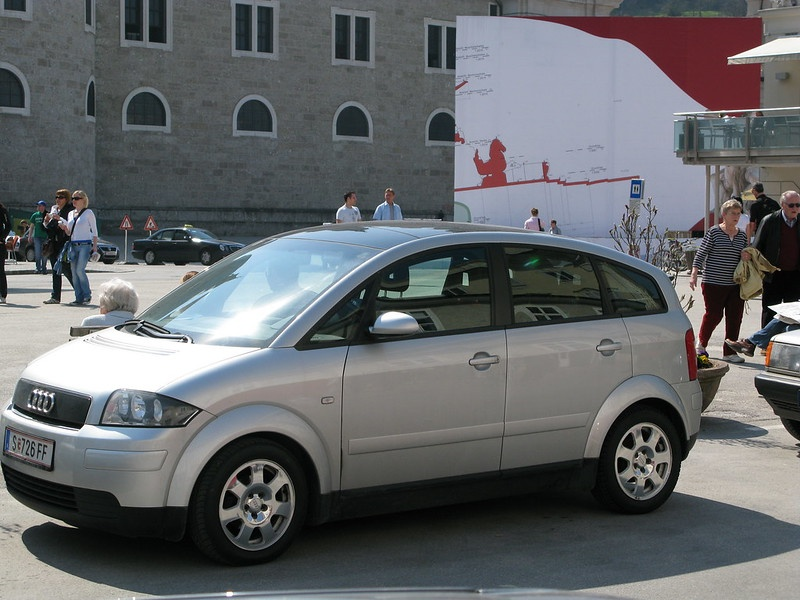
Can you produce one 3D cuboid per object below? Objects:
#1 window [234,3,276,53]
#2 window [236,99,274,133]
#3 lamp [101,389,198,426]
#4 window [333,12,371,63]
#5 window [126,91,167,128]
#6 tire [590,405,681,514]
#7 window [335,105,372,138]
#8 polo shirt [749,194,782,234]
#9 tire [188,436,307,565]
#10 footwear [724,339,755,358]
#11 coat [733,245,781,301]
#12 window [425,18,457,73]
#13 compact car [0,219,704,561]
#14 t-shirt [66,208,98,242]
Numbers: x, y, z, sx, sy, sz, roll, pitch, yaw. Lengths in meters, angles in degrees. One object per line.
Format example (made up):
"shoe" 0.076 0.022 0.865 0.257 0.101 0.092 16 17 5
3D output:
"window" -8.195 -14.986 51.839 2.714 3.231 0.215 -3 8 -35
"window" -8.283 -10.205 52.328 0.125 1.480 1.788 7 10 42
"lamp" -1.410 0.618 5.123 0.342 0.136 0.258 2 -5 -43
"window" -2.907 -15.084 54.325 3.168 3.105 0.245 -10 15 -44
"window" -13.717 -10.099 49.896 1.868 1.618 0.148 -4 6 -37
"tire" 1.625 1.115 6.517 0.693 0.722 0.224 -3 1 -28
"window" -2.897 -10.400 54.942 1.842 1.523 0.079 -9 13 -43
"polo shirt" 6.868 -1.662 17.842 0.621 0.814 0.307 15 -1 -39
"tire" -0.883 1.115 5.237 0.642 0.666 0.211 9 -2 -33
"footwear" 4.287 0.606 11.722 0.415 0.198 0.152 22 1 5
"coat" 4.404 -0.303 11.614 0.389 0.651 0.451 7 9 41
"window" 2.761 -15.324 57.645 2.706 2.834 0.219 12 31 26
"compact car" -0.212 0.500 5.979 4.294 1.937 1.064 -2 7 -25
"t-shirt" -5.856 -1.326 17.062 0.654 0.662 0.360 -2 -10 5
